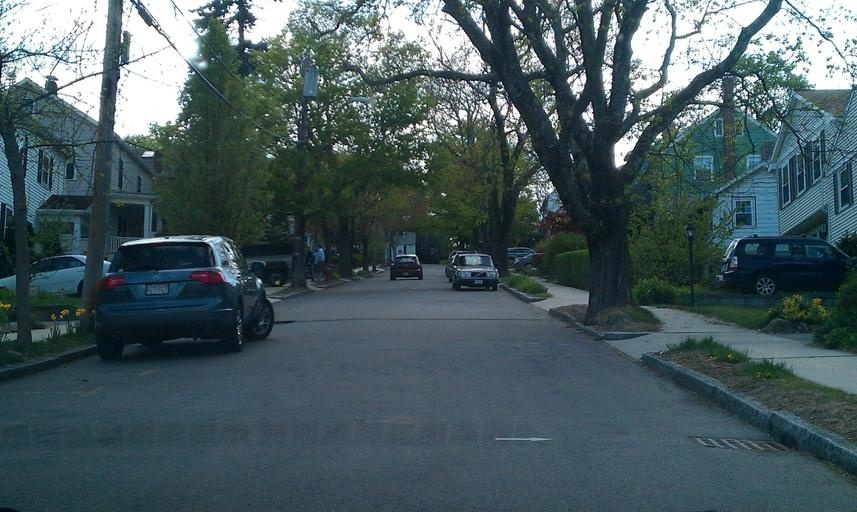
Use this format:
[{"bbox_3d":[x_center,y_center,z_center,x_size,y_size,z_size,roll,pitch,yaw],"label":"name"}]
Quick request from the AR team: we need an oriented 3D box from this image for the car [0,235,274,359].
[{"bbox_3d":[-5.535,0.881,16.848,3.621,2.643,2.026,-3,2,-29],"label":"car"}]

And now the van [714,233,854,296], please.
[{"bbox_3d":[12.533,0.410,27.252,4.849,1.862,2.248,-2,1,-1],"label":"van"}]

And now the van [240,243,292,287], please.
[{"bbox_3d":[-9.735,0.374,42.553,4.221,2.090,2.802,1,-1,16],"label":"van"}]
